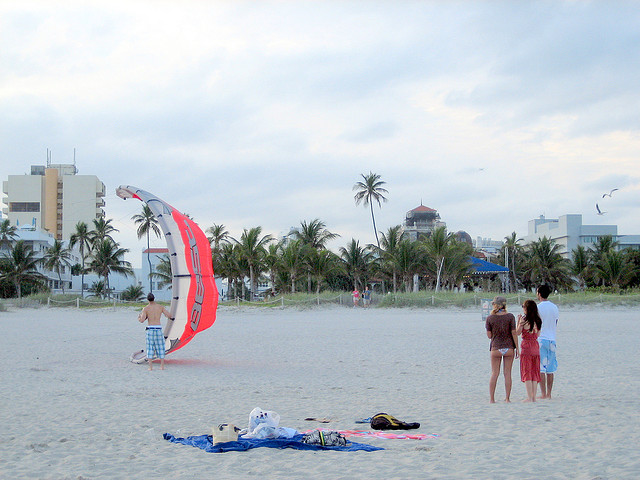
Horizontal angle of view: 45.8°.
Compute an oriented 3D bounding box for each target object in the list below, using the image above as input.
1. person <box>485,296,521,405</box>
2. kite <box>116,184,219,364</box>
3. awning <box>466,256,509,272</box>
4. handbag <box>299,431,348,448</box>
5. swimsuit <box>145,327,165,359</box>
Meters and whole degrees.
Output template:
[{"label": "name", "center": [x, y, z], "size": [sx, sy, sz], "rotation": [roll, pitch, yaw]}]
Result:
[{"label": "person", "center": [3.281, 1.984, 13.601], "size": [0.584, 1.941, 0.508], "rotation": [0, 2, 14]}, {"label": "kite", "center": [-3.697, 0.870, 18.612], "size": [2.608, 4.544, 3.006], "rotation": [-2, 13, -3]}, {"label": "awning", "center": [11.907, 1.838, 54.060], "size": [2.620, 1.183, 4.107], "rotation": [0, 2, 11]}, {"label": "handbag", "center": [0.040, 3.109, 11.859], "size": [0.514, 0.183, 0.295], "rotation": [2, -3, 2]}, {"label": "swimsuit", "center": [-3.722, 2.313, 17.041], "size": [0.404, 0.702, 0.330], "rotation": [-1, 2, -14]}]
